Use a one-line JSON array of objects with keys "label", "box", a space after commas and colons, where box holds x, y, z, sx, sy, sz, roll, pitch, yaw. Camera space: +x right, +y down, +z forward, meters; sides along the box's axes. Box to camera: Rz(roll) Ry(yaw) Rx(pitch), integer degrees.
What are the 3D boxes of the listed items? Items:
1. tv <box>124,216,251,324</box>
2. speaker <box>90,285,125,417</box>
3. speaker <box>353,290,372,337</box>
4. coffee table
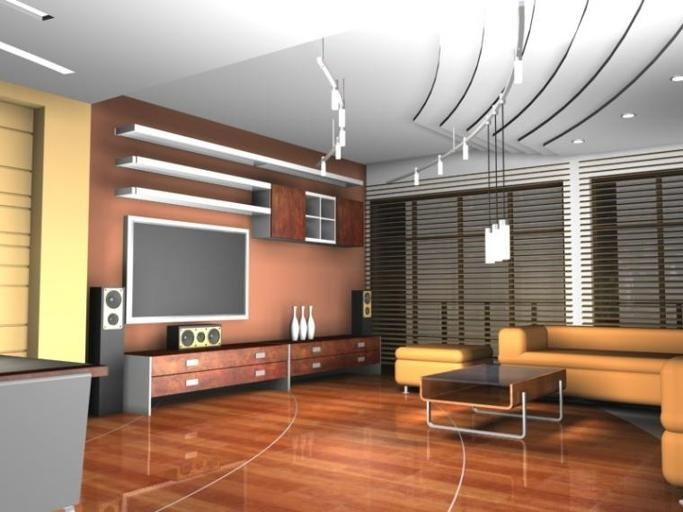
[{"label": "tv", "box": [-1.860, 0.155, 5.939, 0.099, 0.933, 1.437, -4, -6, 40]}, {"label": "speaker", "box": [-2.384, 0.951, 5.118, 0.366, 1.285, 0.269, 2, -4, -22]}, {"label": "speaker", "box": [0.287, 0.880, 7.989, 0.304, 0.693, 0.389, 0, -4, 6]}, {"label": "coffee table", "box": [1.402, 1.367, 4.901, 1.005, 0.516, 1.483, -3, -5, 41]}]
